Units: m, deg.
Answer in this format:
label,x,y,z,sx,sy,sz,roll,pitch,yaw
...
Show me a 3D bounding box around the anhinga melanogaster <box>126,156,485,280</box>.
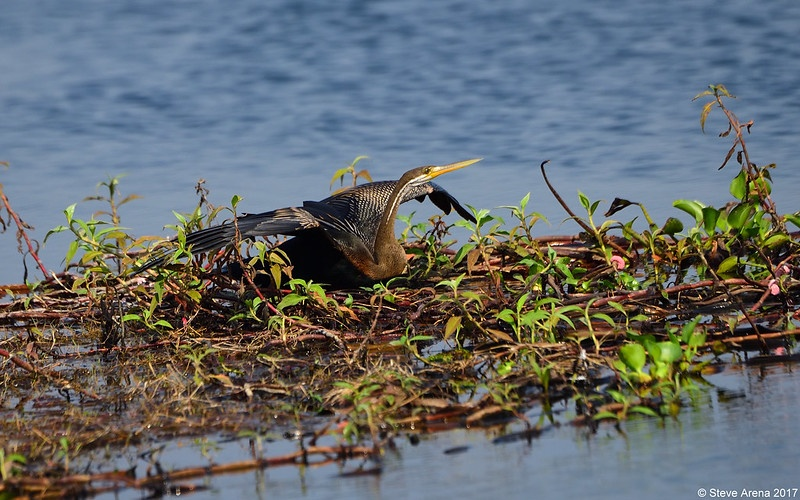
label,x,y,z,sx,sy,sz,roll,pitch,yaw
anhinga melanogaster,-0.397,-0.163,7.384,1.521,0.584,1.600,23,28,26
